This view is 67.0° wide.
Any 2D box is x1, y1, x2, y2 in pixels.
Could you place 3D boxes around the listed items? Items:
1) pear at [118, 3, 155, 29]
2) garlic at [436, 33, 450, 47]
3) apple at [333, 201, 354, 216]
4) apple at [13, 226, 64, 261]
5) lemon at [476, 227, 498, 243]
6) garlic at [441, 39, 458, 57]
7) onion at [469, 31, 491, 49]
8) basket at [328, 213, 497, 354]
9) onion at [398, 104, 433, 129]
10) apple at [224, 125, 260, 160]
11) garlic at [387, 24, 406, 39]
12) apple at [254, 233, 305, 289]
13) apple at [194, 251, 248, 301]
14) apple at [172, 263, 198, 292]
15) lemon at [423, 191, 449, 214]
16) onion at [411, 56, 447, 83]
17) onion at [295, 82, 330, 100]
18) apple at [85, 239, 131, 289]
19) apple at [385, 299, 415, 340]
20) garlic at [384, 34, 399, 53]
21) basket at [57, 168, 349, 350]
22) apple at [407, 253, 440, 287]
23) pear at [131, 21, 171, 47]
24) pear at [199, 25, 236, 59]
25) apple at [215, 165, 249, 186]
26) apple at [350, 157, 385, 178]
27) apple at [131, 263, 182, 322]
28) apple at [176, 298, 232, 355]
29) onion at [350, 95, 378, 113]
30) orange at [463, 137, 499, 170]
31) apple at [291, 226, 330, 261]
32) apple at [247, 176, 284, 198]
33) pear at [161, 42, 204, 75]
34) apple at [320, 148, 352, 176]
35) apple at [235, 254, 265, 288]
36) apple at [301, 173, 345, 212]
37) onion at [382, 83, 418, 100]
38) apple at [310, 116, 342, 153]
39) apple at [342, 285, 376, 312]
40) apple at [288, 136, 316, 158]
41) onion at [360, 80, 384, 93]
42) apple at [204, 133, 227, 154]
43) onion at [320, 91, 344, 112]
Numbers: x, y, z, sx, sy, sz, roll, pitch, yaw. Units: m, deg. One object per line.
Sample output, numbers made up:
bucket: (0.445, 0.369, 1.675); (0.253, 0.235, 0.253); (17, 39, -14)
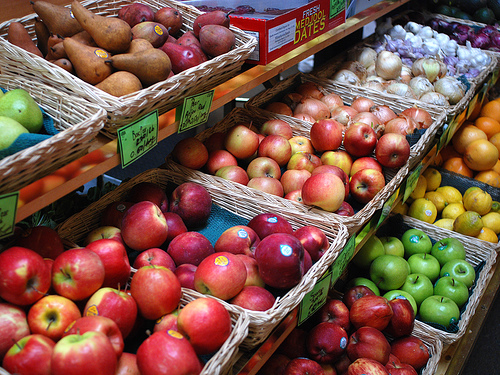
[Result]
pear: (-0.460, -0.690, 1.546); (0.100, 0.079, 0.127); (-8, 23, -24)
garlic: (1.575, -1.217, 3.085); (0.094, 0.050, 0.114); (-3, 75, 0)
apple: (0.398, 0.096, 1.585); (0.056, 0.065, 0.069); (-3, 50, 21)
apple: (-0.646, 0.166, 1.190); (0.096, 0.134, 0.104); (-4, 16, 26)
lemon: (1.482, 0.304, 2.393); (0.118, 0.094, 0.105); (17, 91, 32)
garlic: (1.604, -1.123, 3.066); (0.097, 0.064, 0.131); (-34, 51, -6)
onion: (1.908, -1.223, 3.148); (0.122, 0.093, 0.156); (13, 10, 11)
basket: (1.017, 0.628, 2.475); (0.751, 0.259, 0.817); (23, 50, 16)
onion: (0.970, -0.392, 2.194); (0.142, 0.167, 0.151); (4, 2, 23)
apple: (-0.030, -0.234, 1.865); (0.159, 0.182, 0.176); (16, 28, 12)
garlic: (1.167, -1.233, 2.989); (0.098, 0.066, 0.109); (2, 16, -1)
apple: (0.101, 0.240, 1.297); (0.150, 0.165, 0.173); (-15, 46, 22)
apple: (-0.100, 0.318, 1.245); (0.151, 0.183, 0.198); (-1, 7, 16)
apple: (-0.217, 0.305, 1.270); (0.063, 0.078, 0.071); (9, 9, -26)
lemon: (1.277, 0.091, 2.626); (0.151, 0.118, 0.128); (29, 94, 32)
onion: (1.278, -0.822, 2.737); (0.178, 0.145, 0.204); (1, 45, -1)
onion: (0.379, -0.594, 2.347); (0.154, 0.120, 0.100); (16, 75, -30)
apple: (-0.457, 0.256, 1.215); (0.127, 0.160, 0.145); (6, 17, 8)
apple: (0.693, 0.602, 1.746); (0.119, 0.131, 0.159); (-5, 85, 20)
garlic: (1.092, -1.106, 2.910); (0.094, 0.063, 0.128); (-25, 60, -33)
basket: (-0.054, 0.170, 1.505); (0.682, 0.191, 0.722); (25, 40, 23)
apple: (0.968, 0.462, 2.122); (0.128, 0.135, 0.146); (18, 68, 34)
pear: (-0.394, -0.601, 1.472); (0.113, 0.093, 0.104); (1, 70, -9)
pear: (-0.145, -0.627, 1.599); (0.145, 0.142, 0.133); (8, 15, 0)
apple: (-0.073, -0.061, 1.690); (0.092, 0.108, 0.093); (4, 3, 25)
apple: (0.578, -0.095, 1.845); (0.120, 0.108, 0.118); (15, 80, -29)
apple: (-0.282, 0.301, 1.155); (0.132, 0.183, 0.138); (-4, 6, 31)
apple: (-0.130, 0.407, 1.082); (0.130, 0.153, 0.161); (-7, 64, 43)
onion: (0.677, -0.483, 2.250); (0.113, 0.132, 0.120); (-5, 8, -21)
orange: (1.651, -0.265, 2.740); (0.201, 0.228, 0.262); (11, 39, 16)
apple: (0.228, 0.182, 1.454); (0.135, 0.123, 0.131); (20, 90, 1)
apple: (0.071, -0.010, 1.711); (0.094, 0.104, 0.110); (8, 80, -2)
pear: (-0.281, -0.527, 1.487); (0.156, 0.079, 0.107); (20, 52, -39)
apple: (0.432, -0.133, 1.922); (0.108, 0.127, 0.119); (-4, 10, -17)
apple: (0.009, 0.299, 1.363); (0.093, 0.097, 0.109); (-8, 61, 30)
apple: (0.284, 0.012, 1.585); (0.135, 0.180, 0.142); (-13, 7, 12)
onion: (0.994, -0.647, 2.501); (0.153, 0.099, 0.150); (4, 49, 2)
apple: (0.390, -0.266, 1.938); (0.155, 0.158, 0.183); (-4, 84, 39)
apple: (0.510, 0.491, 1.764); (0.105, 0.125, 0.107); (-16, 16, -8)
apple: (0.260, -0.221, 1.927); (0.096, 0.113, 0.107); (3, 34, 14)
onion: (0.805, -0.674, 2.485); (0.117, 0.077, 0.099); (20, 29, 38)
apple: (-0.168, -0.202, 1.850); (0.081, 0.103, 0.093); (-23, 91, -8)
onion: (0.488, -0.522, 2.283); (0.111, 0.123, 0.121); (-27, 31, 2)
